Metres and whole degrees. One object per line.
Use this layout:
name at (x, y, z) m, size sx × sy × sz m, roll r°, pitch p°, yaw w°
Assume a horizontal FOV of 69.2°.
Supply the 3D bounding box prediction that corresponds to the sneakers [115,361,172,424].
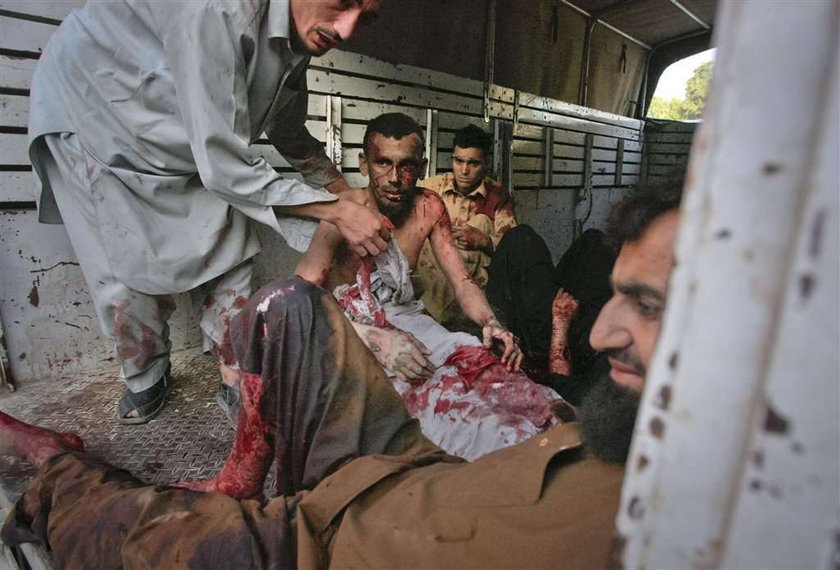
sneakers at (-1.199, 0.460, 2.676) m, size 0.124 × 0.141 × 0.329 m, roll 7°, pitch 20°, yaw -2°

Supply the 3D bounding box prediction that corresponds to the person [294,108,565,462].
person at (0.131, -0.117, 2.818) m, size 0.860 × 1.055 × 1.724 m, roll -17°, pitch 35°, yaw -30°
